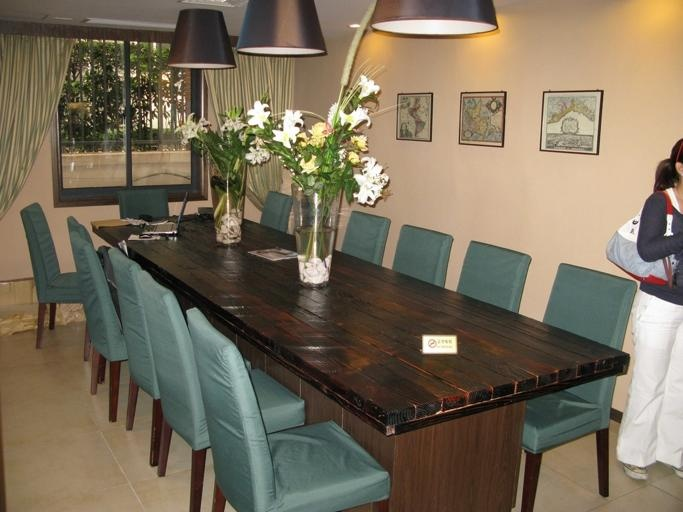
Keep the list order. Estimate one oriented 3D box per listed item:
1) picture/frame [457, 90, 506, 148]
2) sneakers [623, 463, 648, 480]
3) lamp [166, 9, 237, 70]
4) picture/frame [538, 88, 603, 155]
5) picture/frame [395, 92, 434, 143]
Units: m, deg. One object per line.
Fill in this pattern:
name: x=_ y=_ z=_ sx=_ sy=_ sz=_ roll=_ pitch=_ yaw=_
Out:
picture/frame: x=1.240 y=-1.201 z=4.462 sx=0.034 sy=0.504 sz=0.472 roll=-7 pitch=16 yaw=-32
sneakers: x=1.725 y=1.258 z=2.995 sx=0.064 sy=0.063 sz=0.128 roll=-4 pitch=5 yaw=-16
lamp: x=-1.016 y=-1.559 z=3.684 sx=0.426 sy=0.337 sz=0.445 roll=-2 pitch=9 yaw=-14
picture/frame: x=1.731 y=-1.009 z=3.810 sx=0.018 sy=0.468 sz=0.455 roll=-9 pitch=19 yaw=-34
picture/frame: x=0.749 y=-1.397 z=5.120 sx=0.020 sy=0.528 sz=0.485 roll=-7 pitch=15 yaw=-34
